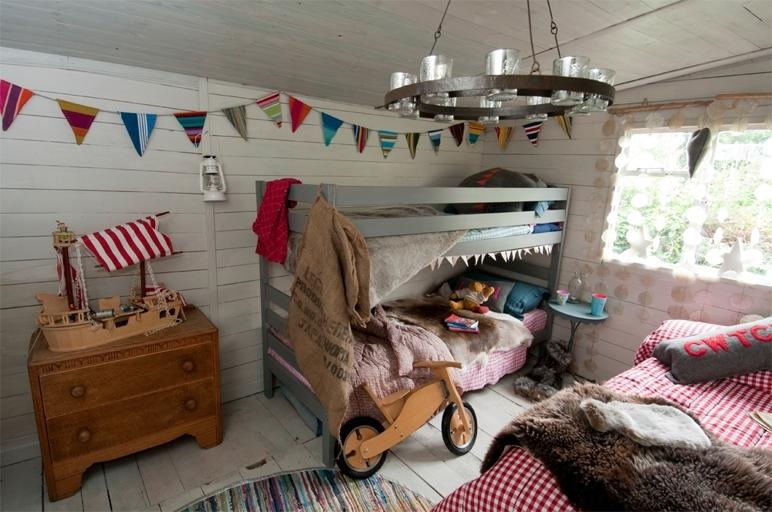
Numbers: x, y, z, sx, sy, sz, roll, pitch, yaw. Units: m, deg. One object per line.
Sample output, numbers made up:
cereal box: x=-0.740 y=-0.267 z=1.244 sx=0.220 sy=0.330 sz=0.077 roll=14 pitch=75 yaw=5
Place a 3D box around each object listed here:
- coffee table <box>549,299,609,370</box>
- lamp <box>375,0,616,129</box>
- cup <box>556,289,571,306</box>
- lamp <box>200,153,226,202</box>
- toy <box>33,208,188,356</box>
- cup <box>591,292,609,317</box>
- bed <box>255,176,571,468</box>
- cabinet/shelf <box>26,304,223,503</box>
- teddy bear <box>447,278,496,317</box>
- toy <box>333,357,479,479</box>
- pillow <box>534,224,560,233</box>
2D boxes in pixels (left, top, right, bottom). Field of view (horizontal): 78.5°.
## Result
coffee table: x=1.759 y=0.728 z=4.455 sx=0.457 sy=0.445 sz=0.460 roll=12 pitch=13 yaw=32
lamp: x=0.605 y=-0.790 z=2.760 sx=1.033 sy=0.979 sz=0.949 roll=2 pitch=3 yaw=5
cup: x=1.645 y=0.389 z=4.510 sx=0.146 sy=0.109 sz=0.134 roll=-2 pitch=21 yaw=1
lamp: x=-1.337 y=-0.604 z=3.656 sx=0.173 sy=0.341 sz=0.169 roll=-7 pitch=15 yaw=-23
toy: x=-1.964 y=0.199 z=3.369 sx=0.459 sy=0.758 sz=0.957 roll=9 pitch=14 yaw=29
cup: x=1.928 y=0.437 z=4.316 sx=0.133 sy=0.175 sz=0.290 roll=6 pitch=13 yaw=24
bed: x=0.502 y=0.573 z=4.277 sx=2.839 sy=1.959 sz=1.489 roll=-4 pitch=8 yaw=-25
cabinet/shelf: x=-2.012 y=1.066 z=3.576 sx=0.948 sy=0.886 sz=1.250 roll=5 pitch=8 yaw=38
teddy bear: x=0.821 y=0.391 z=4.507 sx=0.404 sy=0.299 sz=0.226 roll=12 pitch=3 yaw=29
toy: x=0.172 y=1.171 z=3.503 sx=1.307 sy=0.698 sz=0.718 roll=4 pitch=-14 yaw=-37
pillow: x=1.505 y=-0.274 z=4.462 sx=0.226 sy=0.047 sz=0.128 roll=-14 pitch=24 yaw=-28
